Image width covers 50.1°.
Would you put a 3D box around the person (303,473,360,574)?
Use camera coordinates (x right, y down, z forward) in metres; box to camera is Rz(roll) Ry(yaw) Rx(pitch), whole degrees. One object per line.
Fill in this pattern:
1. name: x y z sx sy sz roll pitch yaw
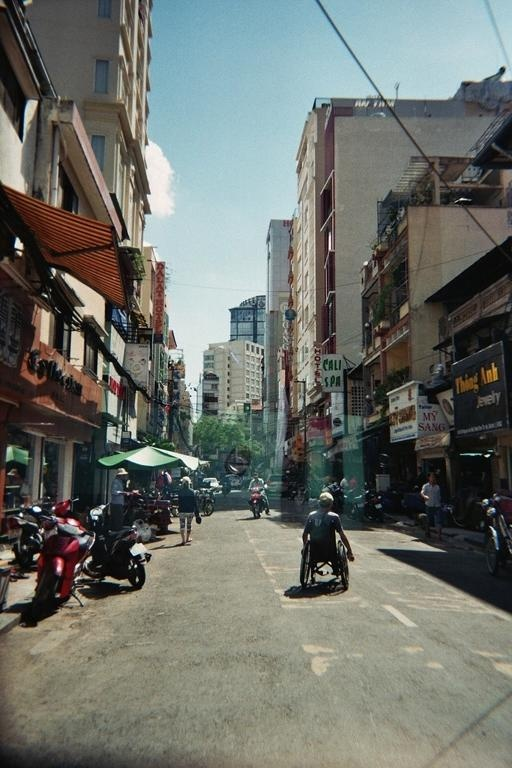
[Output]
1. person: 1.054 2.244 8.191 0.444 1.063 1.224 0 -3 6

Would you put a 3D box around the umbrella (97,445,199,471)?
1. umbrella: -3.494 2.452 18.498 3.135 0.834 2.184 9 -16 -39
